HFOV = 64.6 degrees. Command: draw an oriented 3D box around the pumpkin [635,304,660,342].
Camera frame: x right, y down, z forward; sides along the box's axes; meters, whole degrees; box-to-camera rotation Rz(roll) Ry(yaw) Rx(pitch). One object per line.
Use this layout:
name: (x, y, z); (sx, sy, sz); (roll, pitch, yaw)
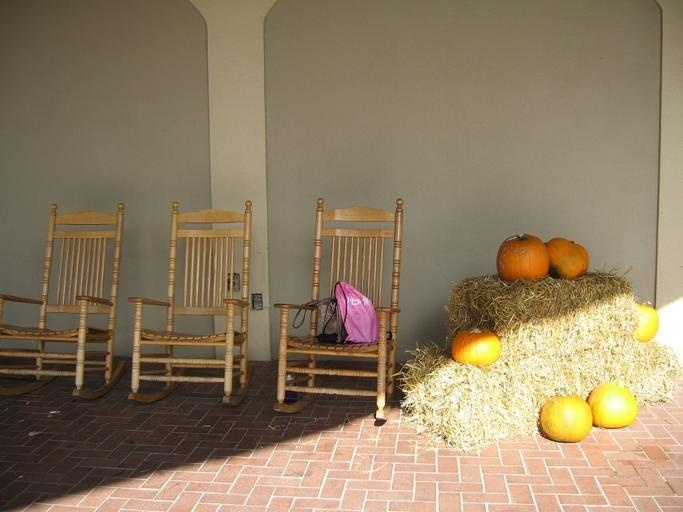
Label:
pumpkin: (2.476, 0.567, 4.340); (0.156, 0.275, 0.264); (5, 13, 28)

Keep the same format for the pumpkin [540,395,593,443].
pumpkin: (1.502, 1.074, 3.616); (0.315, 0.274, 0.305); (6, -14, -27)

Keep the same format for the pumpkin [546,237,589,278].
pumpkin: (1.732, 0.018, 4.217); (0.311, 0.282, 0.304); (14, -5, 3)

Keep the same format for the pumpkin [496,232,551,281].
pumpkin: (1.360, -0.002, 4.083); (0.359, 0.336, 0.363); (2, 3, 39)
